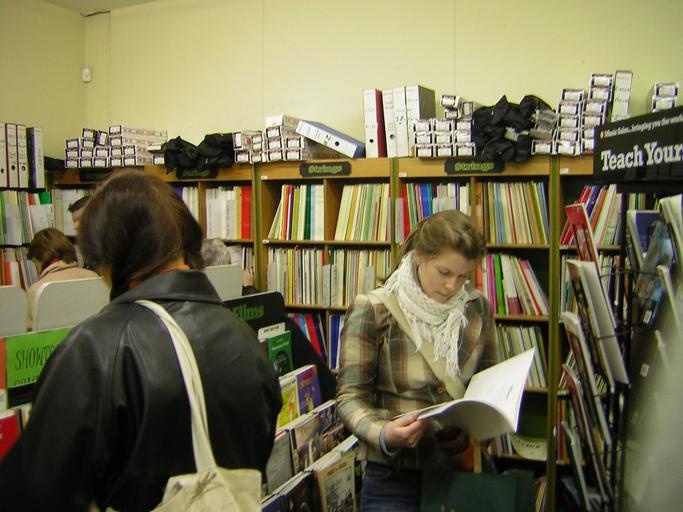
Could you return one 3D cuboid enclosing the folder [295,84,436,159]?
[{"bbox_3d":[0.215,-0.950,4.103,0.872,0.492,0.415,2,7,21],"label":"folder"}]

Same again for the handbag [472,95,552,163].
[{"bbox_3d":[1.086,-0.862,3.718,0.446,0.460,0.355,5,11,15],"label":"handbag"}]
